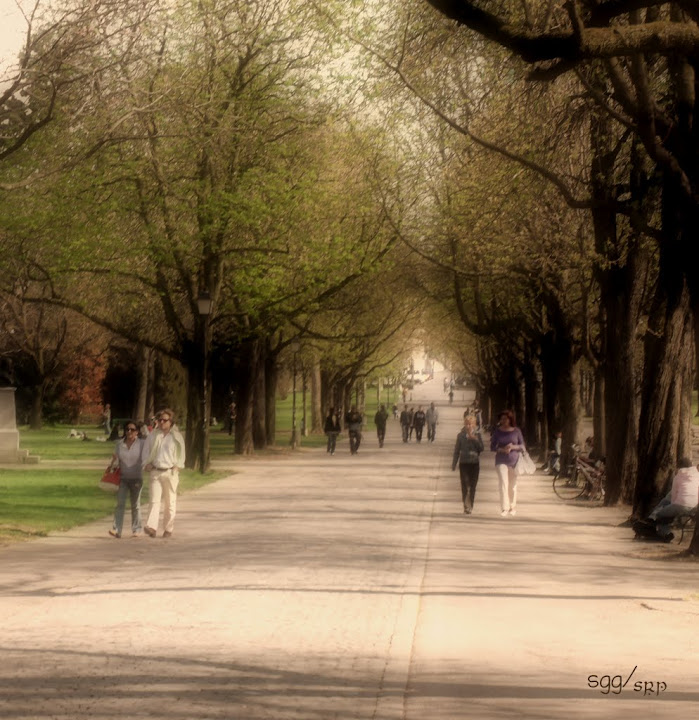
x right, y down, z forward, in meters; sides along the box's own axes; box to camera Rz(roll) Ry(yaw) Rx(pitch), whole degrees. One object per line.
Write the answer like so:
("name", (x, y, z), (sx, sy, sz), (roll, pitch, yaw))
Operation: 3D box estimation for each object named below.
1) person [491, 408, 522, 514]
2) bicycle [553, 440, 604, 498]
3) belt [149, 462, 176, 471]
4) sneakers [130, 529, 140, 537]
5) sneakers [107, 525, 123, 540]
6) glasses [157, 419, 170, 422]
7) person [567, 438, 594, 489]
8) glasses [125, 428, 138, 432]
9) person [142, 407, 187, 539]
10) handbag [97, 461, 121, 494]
("person", (3.150, 2.061, 19.400), (0.625, 2.051, 1.363), (0, -3, 9))
("bicycle", (5.995, 3.066, 24.715), (0.865, 1.541, 2.239), (3, 5, 5))
("belt", (-2.834, 1.624, 14.720), (0.380, 0.101, 0.230), (1, -4, -4))
("sneakers", (-3.290, 2.650, 14.913), (0.136, 0.057, 0.143), (1, -3, -30))
("sneakers", (-3.585, 2.628, 14.929), (0.129, 0.237, 0.291), (4, 10, 11))
("glasses", (-2.811, 0.899, 14.650), (0.184, 0.096, 0.082), (-1, -4, 24))
("person", (6.330, 2.849, 26.830), (0.732, 1.217, 1.768), (3, -1, 0))
("glasses", (-3.353, 1.060, 14.851), (0.116, 0.098, 0.271), (1, -4, 0))
("person", (-2.849, 1.730, 14.796), (0.574, 1.929, 0.723), (2, -3, -22))
("handbag", (-3.766, 1.816, 15.268), (0.266, 0.455, 0.743), (1, -4, -15))
